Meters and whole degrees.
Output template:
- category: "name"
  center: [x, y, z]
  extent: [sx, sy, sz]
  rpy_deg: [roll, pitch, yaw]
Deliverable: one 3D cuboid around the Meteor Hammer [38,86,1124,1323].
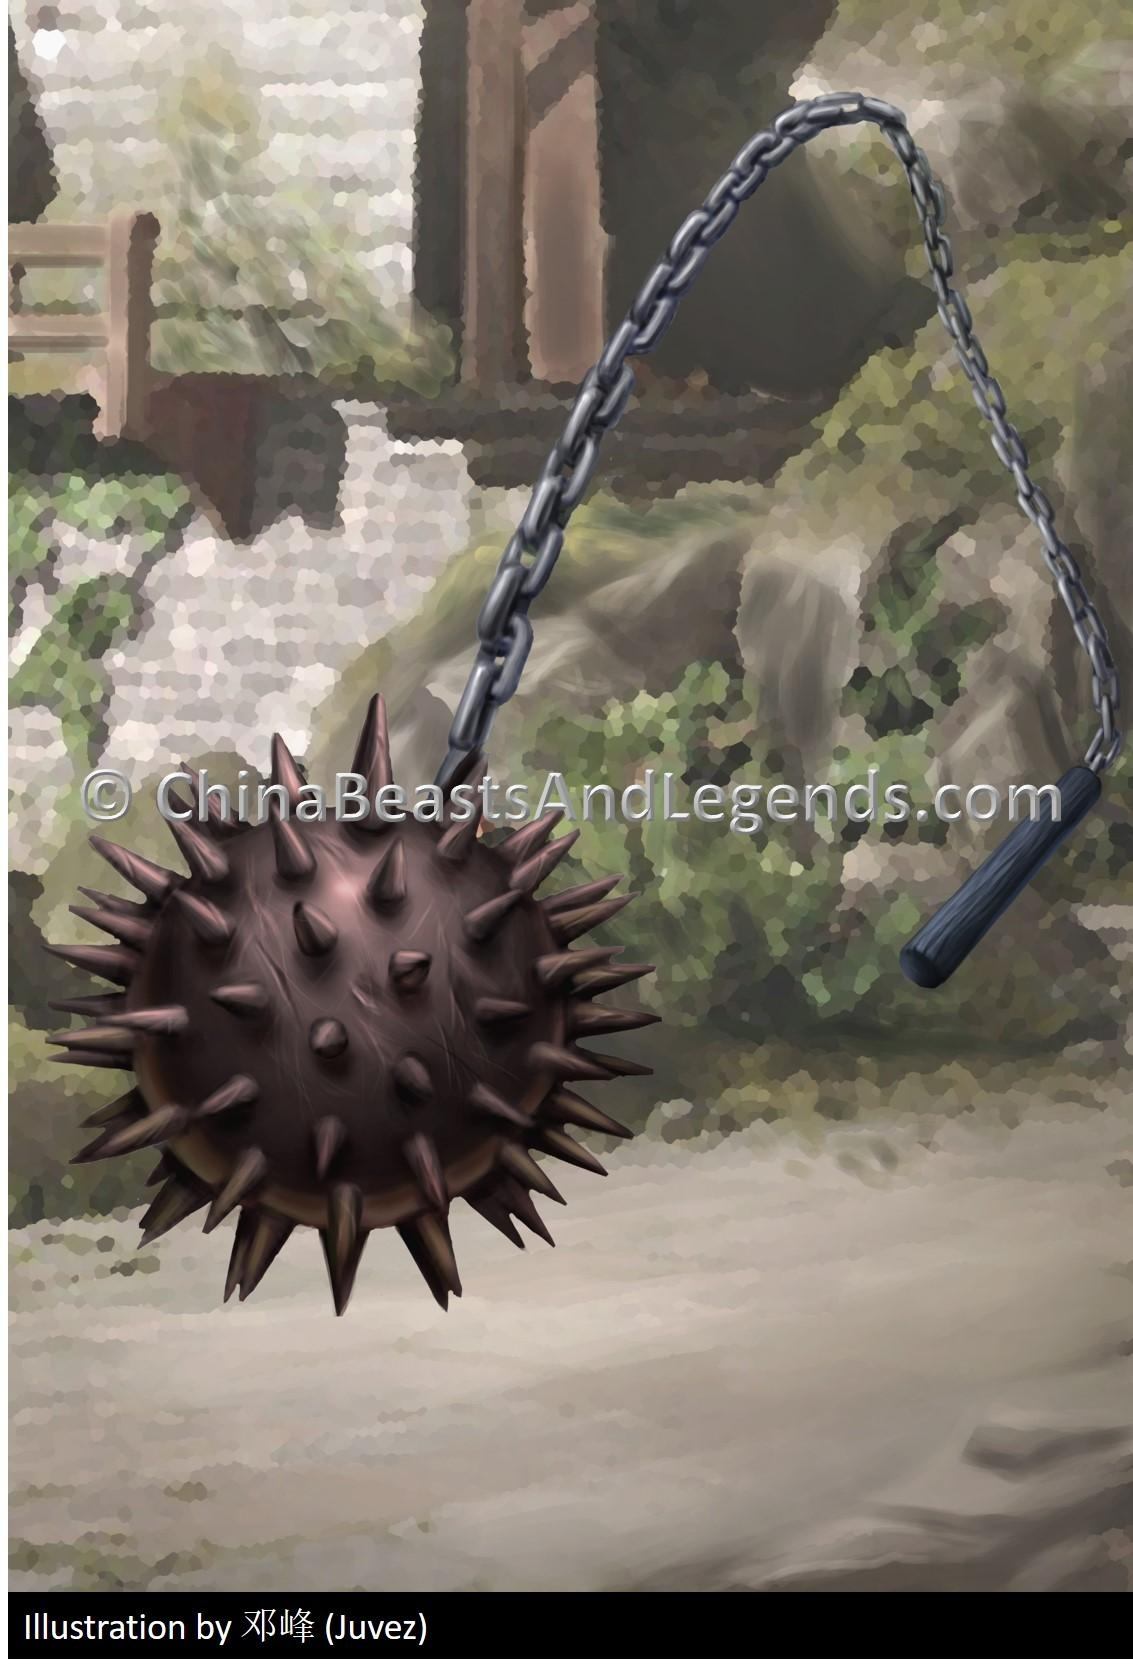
- category: "Meteor Hammer"
  center: [-0.019, -0.248, 1.700]
  extent: [0.688, 0.600, 1.418]
  rpy_deg: [12, 35, 35]
